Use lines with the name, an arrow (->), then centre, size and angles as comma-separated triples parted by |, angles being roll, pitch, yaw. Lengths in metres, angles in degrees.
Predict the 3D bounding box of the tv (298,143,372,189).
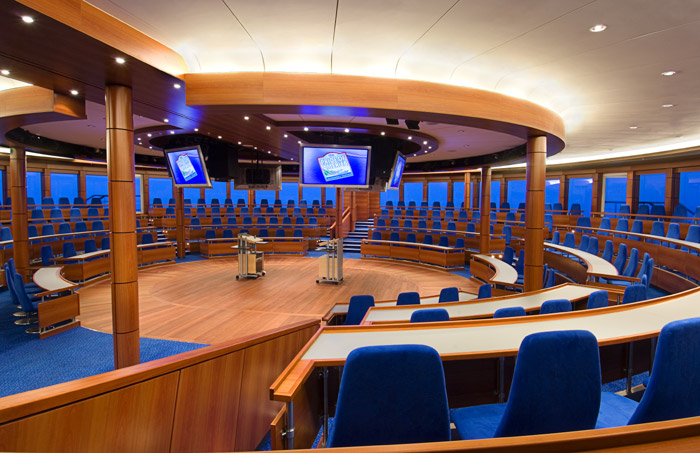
tv -> -0.317, -1.213, 8.563 | 1.189, 0.650, 0.113 | 0, 11, -7

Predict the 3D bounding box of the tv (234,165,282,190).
tv -> -2.771, -1.435, 12.648 | 1.034, 0.459, 0.329 | 0, 1, -1

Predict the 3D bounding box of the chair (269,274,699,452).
chair -> 1.447, 1.753, 4.849 | 3.639, 0.712, 1.380 | -5, 14, 1

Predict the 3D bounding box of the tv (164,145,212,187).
tv -> -3.810, -1.455, 10.053 | 1.405, 0.906, 0.146 | -7, 19, 39
